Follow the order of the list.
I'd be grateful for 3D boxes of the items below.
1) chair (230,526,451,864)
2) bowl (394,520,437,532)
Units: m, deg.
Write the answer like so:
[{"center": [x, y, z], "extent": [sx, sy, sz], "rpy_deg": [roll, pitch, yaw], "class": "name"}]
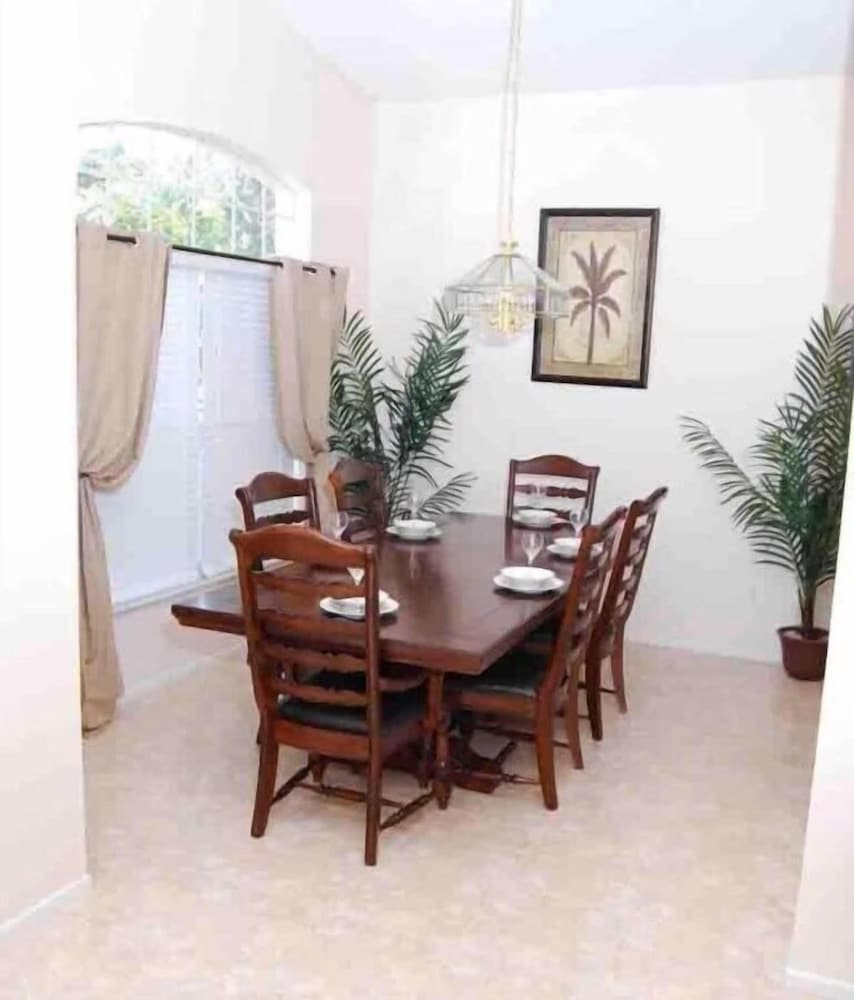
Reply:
[{"center": [-0.240, 0.504, 2.319], "extent": [0.579, 0.928, 0.849], "rpy_deg": [1, 4, -5], "class": "chair"}, {"center": [-0.053, 0.106, 3.435], "extent": [0.089, 0.022, 0.090], "rpy_deg": [2, 14, -1], "class": "bowl"}]
